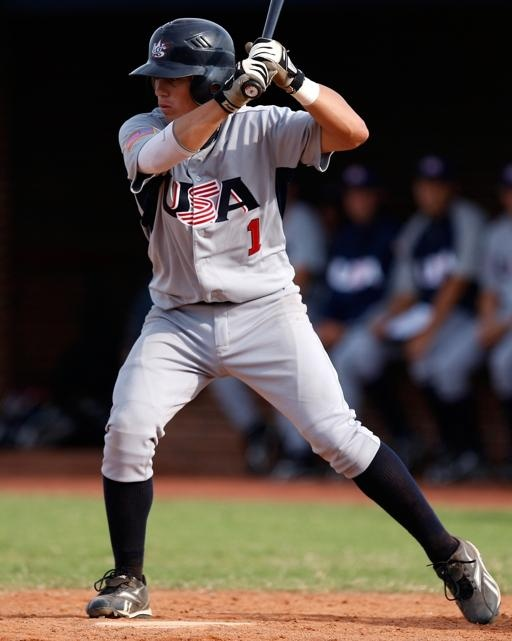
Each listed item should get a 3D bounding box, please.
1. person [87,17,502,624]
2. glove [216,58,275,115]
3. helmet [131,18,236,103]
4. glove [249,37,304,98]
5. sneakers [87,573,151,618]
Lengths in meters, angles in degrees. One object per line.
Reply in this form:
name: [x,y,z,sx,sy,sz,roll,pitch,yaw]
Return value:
person: [0.056,0.063,1.959,0.949,1.036,0.491,7,-4,-1]
glove: [-0.035,-0.530,1.821,0.145,0.092,0.056,-46,6,-36]
helmet: [-0.196,-0.684,2.107,0.299,0.181,0.205,-9,34,-27]
glove: [0.024,-0.593,1.892,0.106,0.060,0.148,16,32,-38]
sneakers: [-0.345,0.693,2.057,0.123,0.102,0.246,-2,-13,13]
